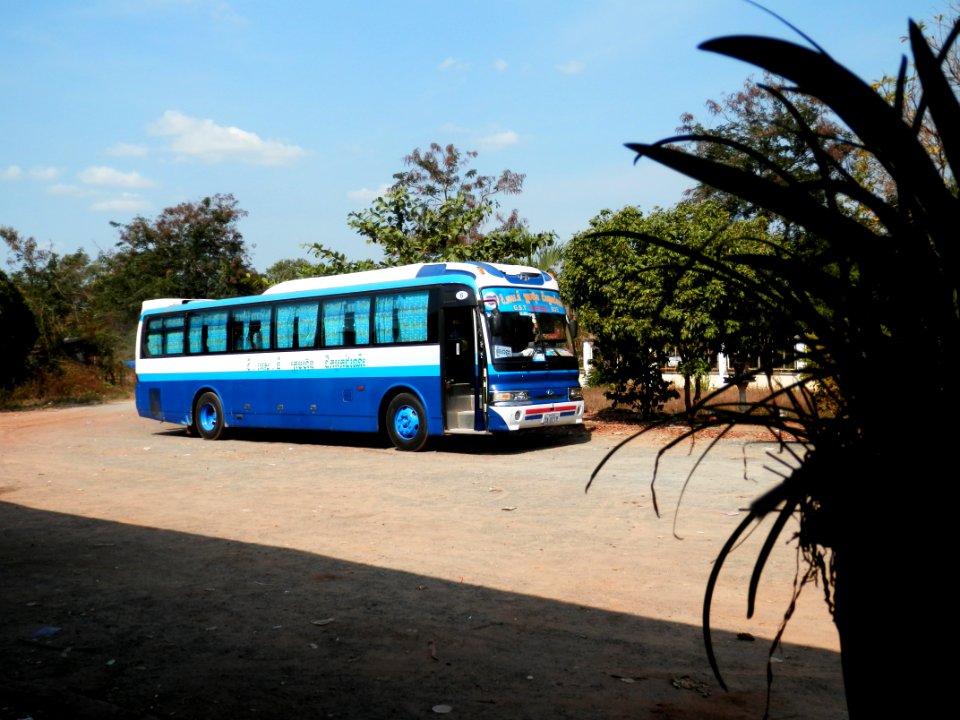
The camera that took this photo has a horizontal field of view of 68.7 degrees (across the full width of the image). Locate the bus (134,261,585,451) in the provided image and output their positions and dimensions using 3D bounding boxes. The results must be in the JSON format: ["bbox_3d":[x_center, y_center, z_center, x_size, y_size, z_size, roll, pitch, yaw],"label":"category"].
[{"bbox_3d":[-3.498,-0.026,17.778,11.678,3.716,3.467,-2,2,30],"label":"bus"}]
